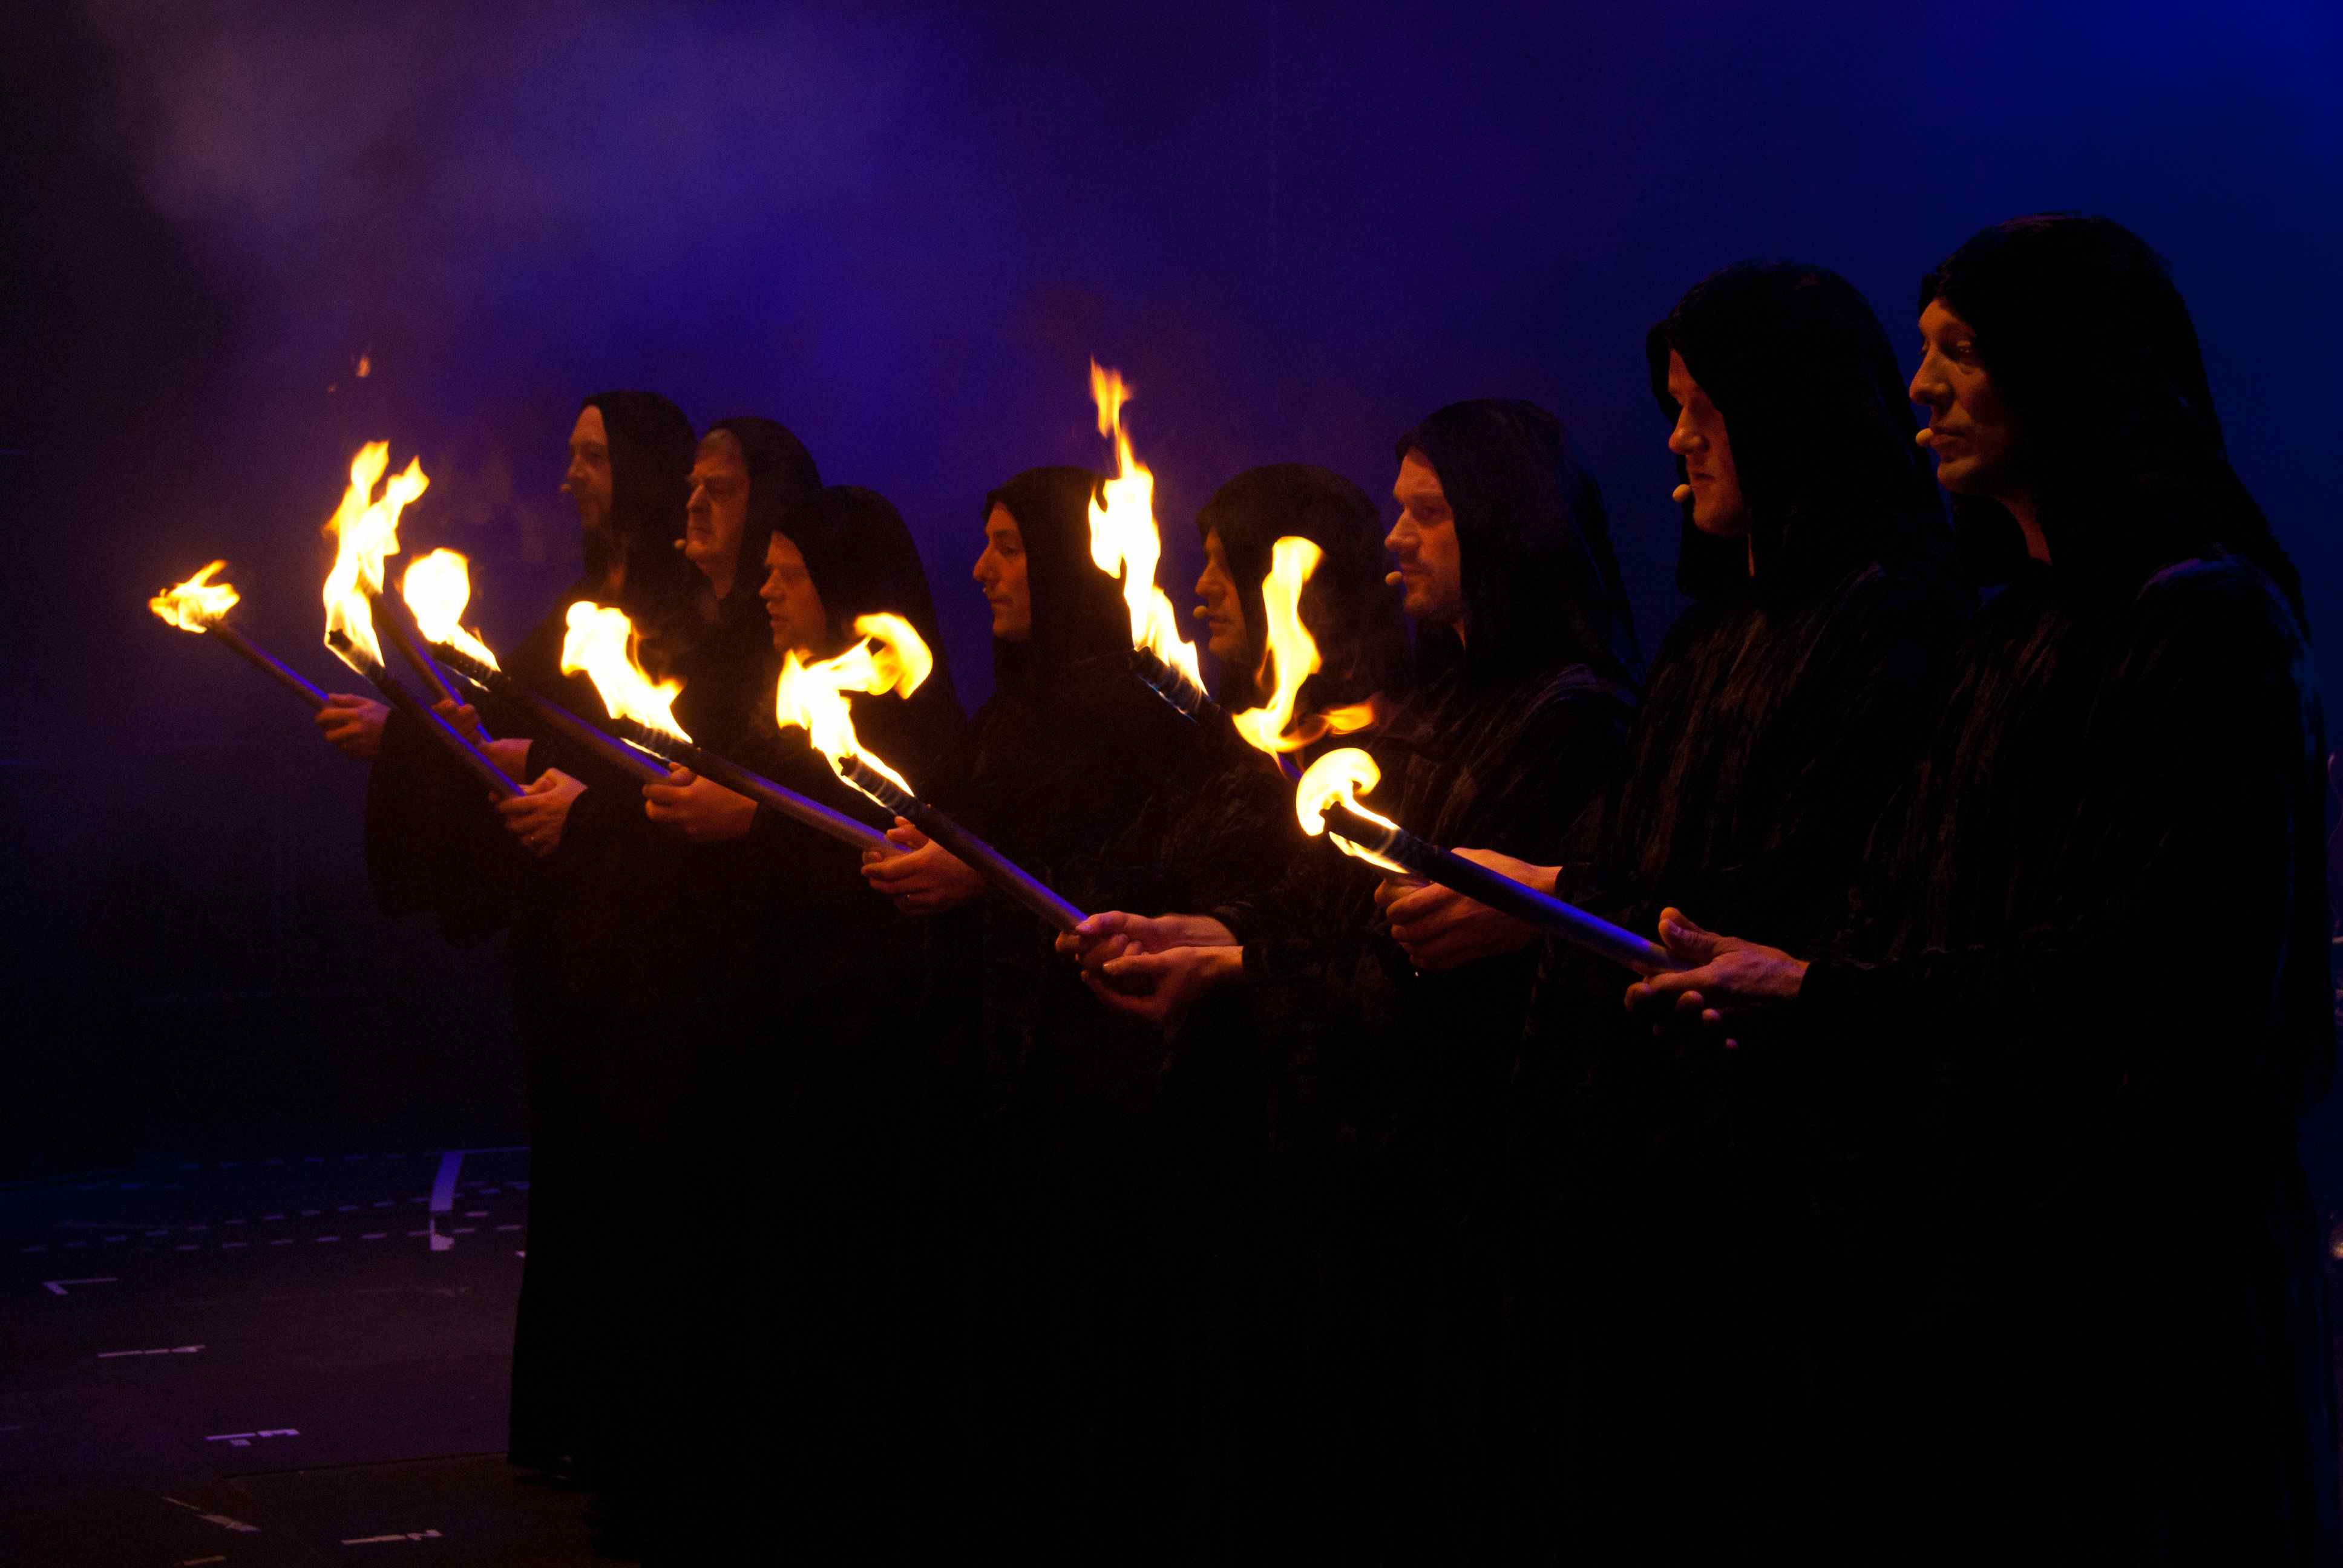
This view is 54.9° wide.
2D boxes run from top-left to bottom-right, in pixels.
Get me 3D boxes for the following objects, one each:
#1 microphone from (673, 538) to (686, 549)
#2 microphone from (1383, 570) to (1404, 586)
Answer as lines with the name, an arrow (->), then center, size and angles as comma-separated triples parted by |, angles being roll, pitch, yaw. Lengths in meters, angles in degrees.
microphone -> -1.299, -0.635, 5.943 | 0.027, 0.026, 0.006 | 3, -16, -3
microphone -> 0.464, -0.430, 4.728 | 0.039, 0.018, 0.051 | 1, -4, 5
